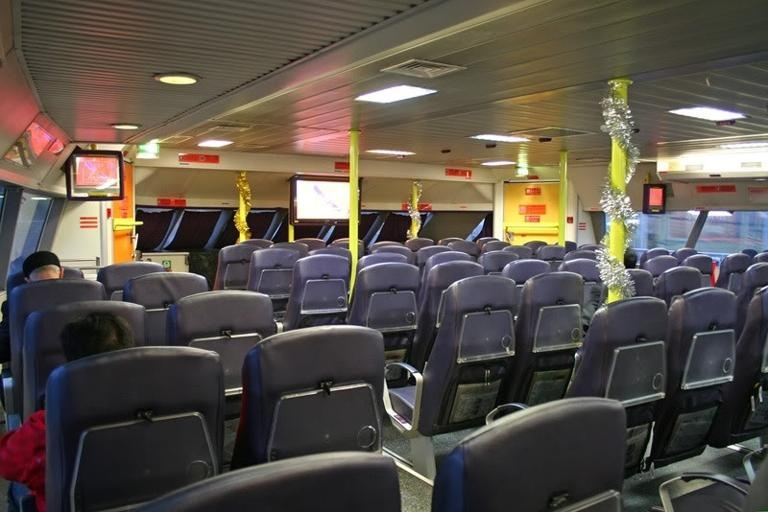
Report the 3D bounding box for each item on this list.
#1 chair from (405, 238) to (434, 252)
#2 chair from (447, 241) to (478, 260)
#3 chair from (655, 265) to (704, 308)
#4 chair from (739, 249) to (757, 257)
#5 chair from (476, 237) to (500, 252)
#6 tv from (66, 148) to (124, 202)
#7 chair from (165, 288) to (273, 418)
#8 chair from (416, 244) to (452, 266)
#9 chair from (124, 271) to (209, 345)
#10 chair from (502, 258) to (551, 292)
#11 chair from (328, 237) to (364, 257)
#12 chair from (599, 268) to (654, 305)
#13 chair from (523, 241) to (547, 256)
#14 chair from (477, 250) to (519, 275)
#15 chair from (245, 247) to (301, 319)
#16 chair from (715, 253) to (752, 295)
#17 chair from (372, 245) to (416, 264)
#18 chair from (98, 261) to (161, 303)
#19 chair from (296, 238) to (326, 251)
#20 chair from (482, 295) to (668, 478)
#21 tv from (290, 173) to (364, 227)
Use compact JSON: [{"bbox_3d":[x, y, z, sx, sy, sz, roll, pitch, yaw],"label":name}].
[{"bbox_3d":[0.805,-0.304,12.569,0.420,0.501,0.434,2,4,-5],"label":"chair"},{"bbox_3d":[1.699,-0.185,11.214,0.523,0.476,0.464,1,7,-7],"label":"chair"},{"bbox_3d":[3.355,0.413,6.057,0.461,0.538,0.499,-5,-2,11],"label":"chair"},{"bbox_3d":[7.389,-0.079,10.699,0.198,0.240,0.211,-2,21,-5],"label":"chair"},{"bbox_3d":[2.363,-0.291,11.958,0.459,0.395,0.484,-3,0,25],"label":"chair"},{"bbox_3d":[-4.832,-1.347,9.101,0.938,0.839,0.547,0,1,0],"label":"tv"},{"bbox_3d":[-1.299,0.671,4.171,0.805,0.972,0.619,-2,17,-20],"label":"chair"},{"bbox_3d":[0.785,-0.087,9.169,0.467,0.410,0.401,0,11,-13],"label":"chair"},{"bbox_3d":[-1.740,0.417,4.186,0.674,0.551,0.273,-1,6,-34],"label":"chair"},{"bbox_3d":[1.652,0.170,6.234,0.473,0.404,0.376,-1,8,-18],"label":"chair"},{"bbox_3d":[-0.783,-0.347,11.709,0.770,0.502,0.549,-1,-9,2],"label":"chair"},{"bbox_3d":[2.807,0.325,6.015,0.450,0.556,0.484,0,-1,-14],"label":"chair"},{"bbox_3d":[3.096,-0.168,10.826,0.366,0.320,0.347,1,8,-12],"label":"chair"},{"bbox_3d":[1.649,0.033,7.868,0.455,0.401,0.422,1,9,-13],"label":"chair"},{"bbox_3d":[-1.760,0.345,8.279,0.810,1.067,0.945,-2,9,-29],"label":"chair"},{"bbox_3d":[5.254,0.290,7.975,0.513,0.555,0.558,-4,-6,29],"label":"chair"},{"bbox_3d":[0.198,-0.076,9.610,0.553,0.528,0.426,0,2,9],"label":"chair"},{"bbox_3d":[-2.798,0.193,5.766,0.618,0.565,0.515,-2,3,-36],"label":"chair"},{"bbox_3d":[-1.578,-0.296,11.508,0.402,0.258,0.388,2,-1,-33],"label":"chair"},{"bbox_3d":[1.806,0.847,4.380,1.146,1.545,1.450,1,5,-28],"label":"chair"},{"bbox_3d":[-1.632,-1.542,14.152,2.163,1.213,0.290,0,4,-34],"label":"tv"}]
